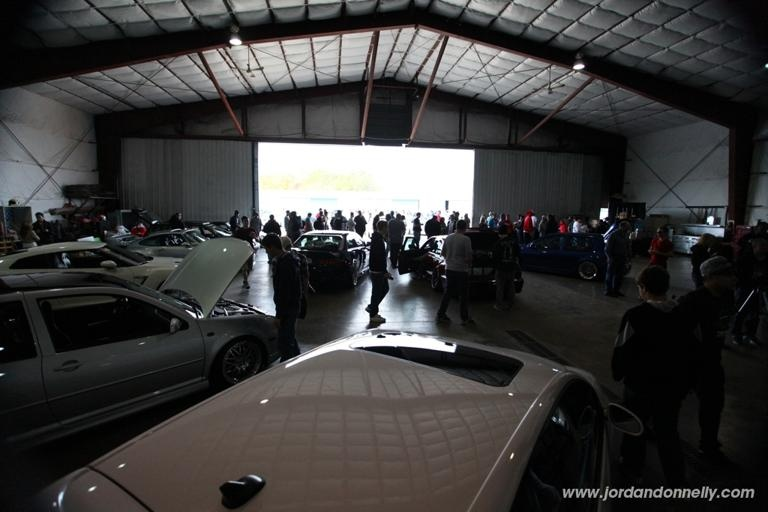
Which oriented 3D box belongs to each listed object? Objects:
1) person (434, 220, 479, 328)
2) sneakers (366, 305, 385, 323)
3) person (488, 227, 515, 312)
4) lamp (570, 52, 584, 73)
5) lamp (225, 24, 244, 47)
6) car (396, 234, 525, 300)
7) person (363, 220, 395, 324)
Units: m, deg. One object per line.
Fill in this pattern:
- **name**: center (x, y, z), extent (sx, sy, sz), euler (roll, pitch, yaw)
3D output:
- **person**: center (1.409, 0.286, 7.992), extent (0.700, 2.024, 0.565), euler (4, 11, 22)
- **sneakers**: center (-0.159, 1.163, 8.159), extent (0.181, 0.233, 0.533), euler (-3, 5, -44)
- **person**: center (2.655, 0.225, 9.005), extent (0.539, 1.778, 0.437), euler (0, 10, 0)
- **lamp**: center (6.962, -6.862, 14.784), extent (0.564, 0.638, 0.568), euler (-3, 4, 1)
- **lamp**: center (-4.698, -6.855, 12.978), extent (0.504, 0.565, 0.509), euler (-1, 4, -11)
- **car**: center (1.741, 0.133, 10.559), extent (1.758, 0.826, 2.546), euler (0, 11, -13)
- **person**: center (-0.113, 0.278, 8.257), extent (0.504, 1.959, 0.927), euler (-1, 10, -3)
